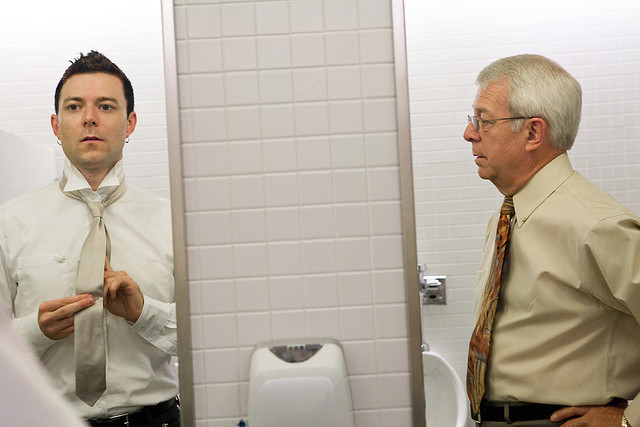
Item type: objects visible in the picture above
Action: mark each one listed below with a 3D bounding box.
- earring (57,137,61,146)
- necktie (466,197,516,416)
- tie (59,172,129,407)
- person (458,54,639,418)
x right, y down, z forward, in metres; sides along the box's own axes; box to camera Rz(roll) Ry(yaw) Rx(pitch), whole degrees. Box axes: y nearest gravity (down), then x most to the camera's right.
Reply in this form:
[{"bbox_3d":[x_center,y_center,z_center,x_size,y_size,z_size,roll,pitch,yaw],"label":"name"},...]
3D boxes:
[{"bbox_3d":[-0.915,-0.254,2.414,0.006,0.028,0.028,1,-22,-37],"label":"earring"},{"bbox_3d":[0.591,0.290,2.368,0.093,0.784,0.066,29,-22,-29],"label":"necktie"},{"bbox_3d":[-0.758,0.272,2.400,0.221,0.781,0.114,-4,5,-9],"label":"tie"},{"bbox_3d":[0.764,0.073,2.281,0.544,1.213,0.333,-1,5,25],"label":"person"}]
